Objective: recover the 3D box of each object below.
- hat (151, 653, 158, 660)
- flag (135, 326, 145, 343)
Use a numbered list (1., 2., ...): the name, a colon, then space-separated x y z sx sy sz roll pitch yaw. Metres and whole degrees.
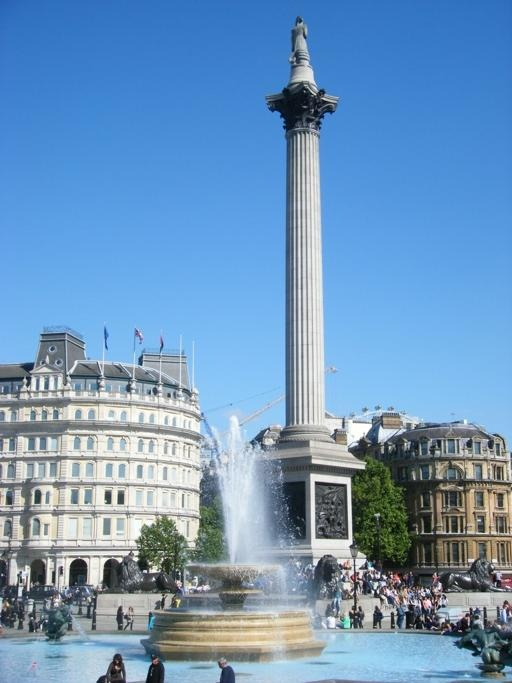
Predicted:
1. hat: -1.635 5.088 14.752 0.090 0.131 0.135 4 -52 -2
2. flag: -8.002 -0.392 62.339 0.417 0.434 1.163 9 -22 6
